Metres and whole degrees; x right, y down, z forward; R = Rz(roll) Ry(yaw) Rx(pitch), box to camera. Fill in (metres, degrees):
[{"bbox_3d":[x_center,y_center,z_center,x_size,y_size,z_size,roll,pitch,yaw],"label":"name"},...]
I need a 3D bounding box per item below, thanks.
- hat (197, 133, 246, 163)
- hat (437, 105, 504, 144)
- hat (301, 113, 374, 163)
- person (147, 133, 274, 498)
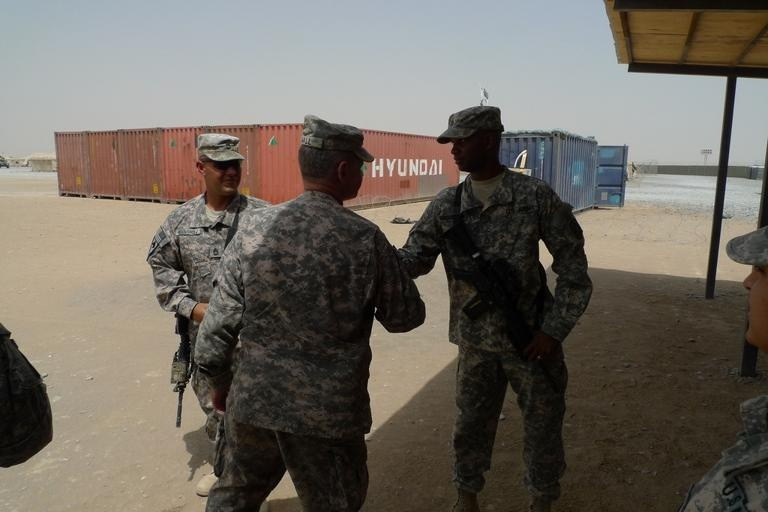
[{"bbox_3d":[-1.286,-0.835,4.097,0.336,0.171,0.265,0,3,35],"label":"hat"},{"bbox_3d":[0.523,-0.806,3.331,0.388,0.224,0.367,2,14,11],"label":"hat"},{"bbox_3d":[-0.238,-0.625,2.975,0.418,0.152,0.283,9,6,-24],"label":"hat"},{"bbox_3d":[-1.408,0.360,4.366,1.122,2.634,0.771,-2,35,-25],"label":"person"}]
